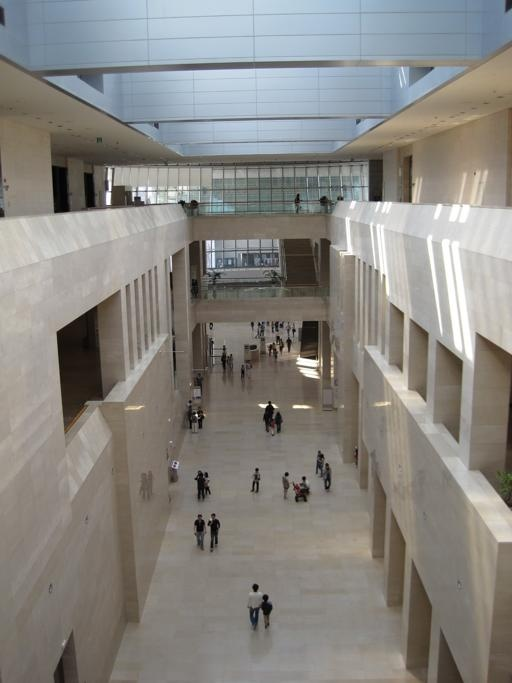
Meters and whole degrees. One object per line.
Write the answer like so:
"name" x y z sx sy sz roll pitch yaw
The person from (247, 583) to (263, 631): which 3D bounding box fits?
"person" -0.023 5.269 9.893 0.237 0.254 1.040 1 -74 -5
